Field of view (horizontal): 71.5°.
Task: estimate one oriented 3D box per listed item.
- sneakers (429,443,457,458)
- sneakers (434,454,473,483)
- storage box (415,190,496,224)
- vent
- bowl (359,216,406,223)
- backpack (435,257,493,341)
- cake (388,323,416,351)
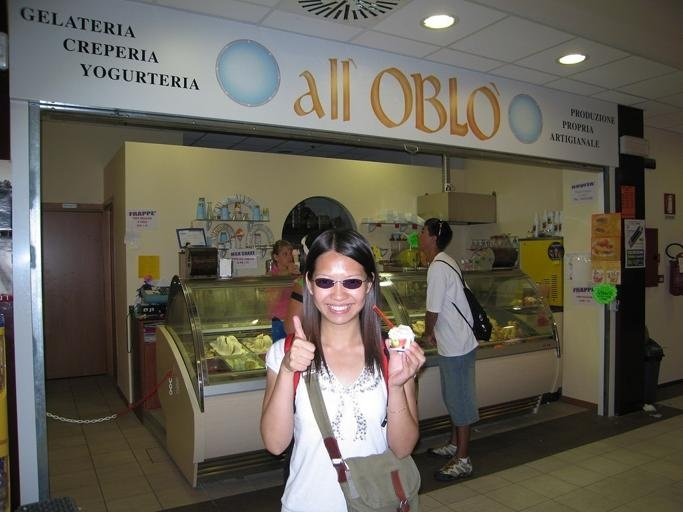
[{"bbox_3d":[0.937,1.773,4.383,0.270,0.137,0.111,1,-5,5],"label":"sneakers"},{"bbox_3d":[0.954,1.797,4.036,0.365,0.183,0.136,1,-6,-19],"label":"sneakers"},{"bbox_3d":[1.471,-0.639,6.303,0.635,0.332,0.652,1,1,-26],"label":"storage box"},{"bbox_3d":[1.680,-0.921,6.636,0.668,0.944,0.875,2,2,-6],"label":"vent"},{"bbox_3d":[0.726,-0.619,8.092,0.730,0.114,0.189,-1,2,-9],"label":"bowl"},{"bbox_3d":[1.128,0.427,4.210,0.253,0.747,0.420,-28,2,1],"label":"backpack"},{"bbox_3d":[0.247,0.339,2.011,0.100,0.094,0.101,0,-3,-37],"label":"cake"}]
